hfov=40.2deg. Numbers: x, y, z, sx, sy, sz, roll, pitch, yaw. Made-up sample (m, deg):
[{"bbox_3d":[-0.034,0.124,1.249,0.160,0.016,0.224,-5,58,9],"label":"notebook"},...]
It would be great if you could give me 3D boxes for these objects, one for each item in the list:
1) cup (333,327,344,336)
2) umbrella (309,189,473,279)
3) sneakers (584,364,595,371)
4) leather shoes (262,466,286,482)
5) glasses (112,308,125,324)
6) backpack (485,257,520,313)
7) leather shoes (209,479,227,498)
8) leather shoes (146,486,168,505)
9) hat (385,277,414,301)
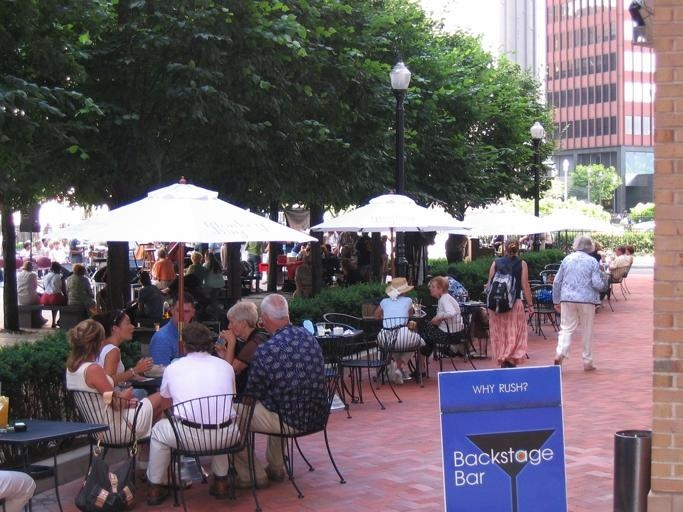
[{"bbox_3d":[-0.066,1.057,13.552,0.093,0.116,0.098,1,5,0],"label":"cup"},{"bbox_3d":[0.890,-0.657,15.651,1.764,0.865,1.939,4,-2,-9],"label":"umbrella"},{"bbox_3d":[3.982,1.738,15.004,0.073,0.139,0.162,5,17,41],"label":"sneakers"},{"bbox_3d":[-0.758,2.348,10.258,0.229,0.133,0.137,-3,-1,13],"label":"leather shoes"},{"bbox_3d":[-2.521,0.657,10.475,0.101,0.142,0.137,7,38,37],"label":"glasses"},{"bbox_3d":[2.472,0.406,14.186,0.453,0.849,0.812,0,5,26],"label":"backpack"},{"bbox_3d":[-1.325,2.405,9.845,0.115,0.190,0.255,1,3,0],"label":"leather shoes"},{"bbox_3d":[-1.945,2.437,9.693,0.102,0.120,0.271,2,5,10],"label":"leather shoes"},{"bbox_3d":[0.882,0.509,14.610,0.316,0.144,0.350,-1,23,39],"label":"hat"}]
